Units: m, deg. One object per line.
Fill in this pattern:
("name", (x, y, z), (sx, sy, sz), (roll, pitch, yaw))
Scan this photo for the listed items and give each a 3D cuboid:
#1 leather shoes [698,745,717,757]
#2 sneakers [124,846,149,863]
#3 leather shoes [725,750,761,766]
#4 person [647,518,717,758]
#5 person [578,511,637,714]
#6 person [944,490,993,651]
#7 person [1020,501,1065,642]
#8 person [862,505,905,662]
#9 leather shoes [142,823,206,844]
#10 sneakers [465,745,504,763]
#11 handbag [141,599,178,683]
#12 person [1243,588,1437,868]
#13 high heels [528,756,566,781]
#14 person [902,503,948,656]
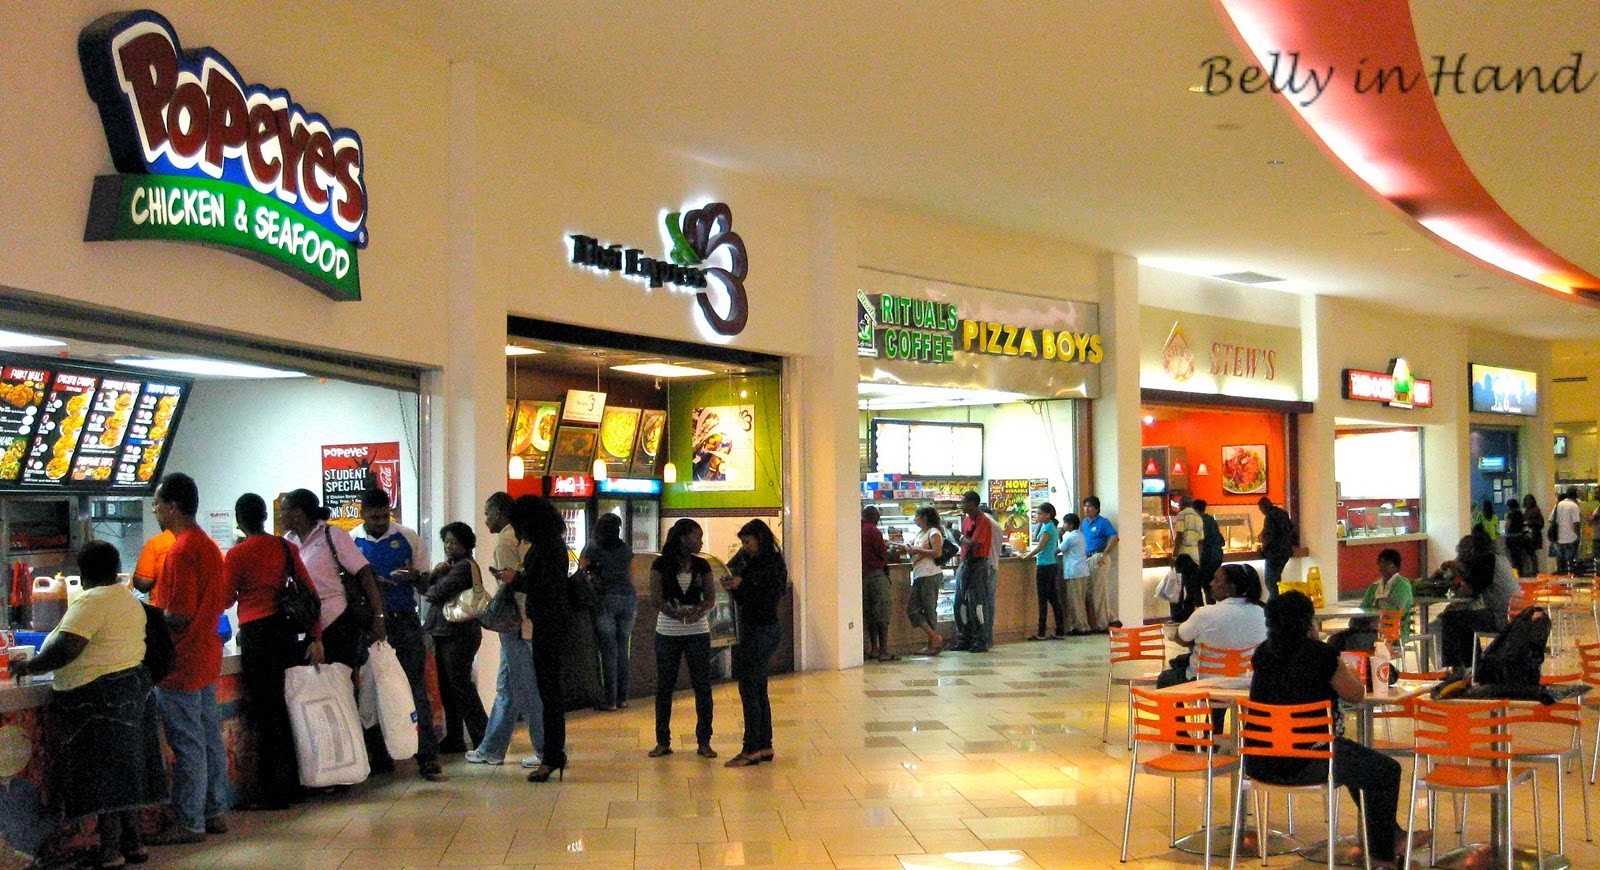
("leather shoes", (-0.856, 2.957, 10.355), (0.079, 0.083, 0.226), (4, -8, -40))
("sneakers", (-4.919, 3.107, 8.217), (0.149, 0.115, 0.104), (-2, 3, -33))
("leather shoes", (-0.530, 2.966, 10.173), (0.338, 0.118, 0.114), (2, -3, -4))
("person", (-1.130, 1.903, 10.485), (0.603, 2.220, 0.529), (-1, 3, -8))
("person", (-2.088, 1.935, 12.073), (0.704, 2.085, 0.479), (-2, 3, -32))
("person", (2.425, 1.899, 15.441), (0.570, 2.176, 0.451), (0, 3, 6))
("person", (3.626, 2.004, 16.443), (0.409, 1.973, 0.632), (1, 3, 33))
("person", (1.019, 1.971, 14.882), (0.390, 2.039, 0.416), (-1, 3, 2))
("leather shoes", (-4.829, 3.072, 8.555), (0.404, 0.139, 0.136), (4, -5, -11))
("sneakers", (-2.952, 2.997, 10.392), (0.368, 0.138, 0.149), (-1, -3, 17))
("handbag", (-4.834, 1.563, 8.334), (0.196, 0.552, 0.137), (-2, 3, -30))
("person", (3.782, 2.144, 8.021), (1.060, 1.996, 0.541), (0, 3, 18))
("high heels", (-2.249, 2.989, 9.903), (0.355, 0.212, 0.175), (5, -4, -3))
("person", (1.744, 1.994, 15.202), (0.522, 1.989, 0.560), (0, 3, 6))
